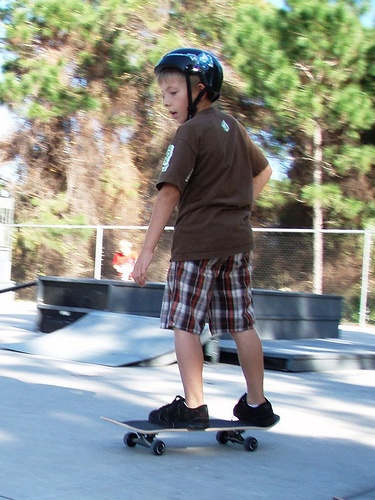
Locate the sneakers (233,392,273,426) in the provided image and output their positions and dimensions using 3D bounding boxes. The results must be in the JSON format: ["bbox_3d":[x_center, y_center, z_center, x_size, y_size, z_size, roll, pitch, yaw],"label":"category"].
[{"bbox_3d":[0.240,0.607,1.814,0.192,0.072,0.062,4,0,1],"label":"sneakers"}]

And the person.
[{"bbox_3d":[0.090,-0.067,1.835,0.602,1.407,0.261,11,-8,-32],"label":"person"}]

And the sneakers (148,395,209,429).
[{"bbox_3d":[-0.031,0.549,1.658,0.237,0.089,0.097,-8,-16,34],"label":"sneakers"}]

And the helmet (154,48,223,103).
[{"bbox_3d":[0.052,-0.681,1.893,0.277,0.172,0.197,9,7,-9],"label":"helmet"}]

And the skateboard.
[{"bbox_3d":[0.017,0.625,1.673,0.657,0.097,0.210,3,-5,-16],"label":"skateboard"}]
